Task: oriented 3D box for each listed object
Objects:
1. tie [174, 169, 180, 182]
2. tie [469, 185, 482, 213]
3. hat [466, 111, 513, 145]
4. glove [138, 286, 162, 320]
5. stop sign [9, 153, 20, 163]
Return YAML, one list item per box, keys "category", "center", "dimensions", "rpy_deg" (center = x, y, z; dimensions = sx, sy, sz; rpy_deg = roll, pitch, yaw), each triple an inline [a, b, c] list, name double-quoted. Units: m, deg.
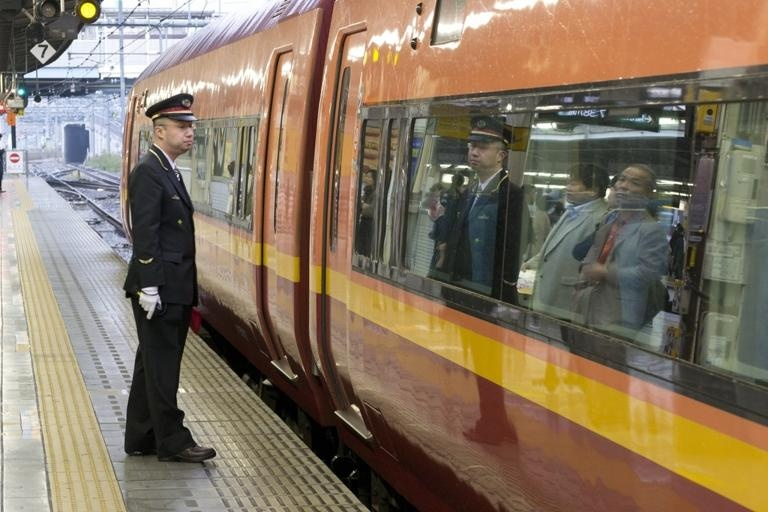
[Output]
- category: "tie"
  center: [-1.580, -0.620, 4.666]
  dimensions: [0.047, 0.071, 0.022]
  rpy_deg: [-2, -7, -11]
- category: "tie"
  center: [0.508, -0.326, 3.375]
  dimensions: [0.035, 0.105, 0.070]
  rpy_deg: [10, 2, -28]
- category: "hat"
  center: [0.560, -0.667, 3.219]
  dimensions: [0.170, 0.078, 0.161]
  rpy_deg: [8, 2, -31]
- category: "glove"
  center: [-1.717, 0.323, 4.522]
  dimensions: [0.154, 0.232, 0.082]
  rpy_deg: [10, 24, 29]
- category: "stop sign"
  center: [-16.985, -4.538, 28.119]
  dimensions: [0.206, 0.517, 0.599]
  rpy_deg: [2, 7, -1]
